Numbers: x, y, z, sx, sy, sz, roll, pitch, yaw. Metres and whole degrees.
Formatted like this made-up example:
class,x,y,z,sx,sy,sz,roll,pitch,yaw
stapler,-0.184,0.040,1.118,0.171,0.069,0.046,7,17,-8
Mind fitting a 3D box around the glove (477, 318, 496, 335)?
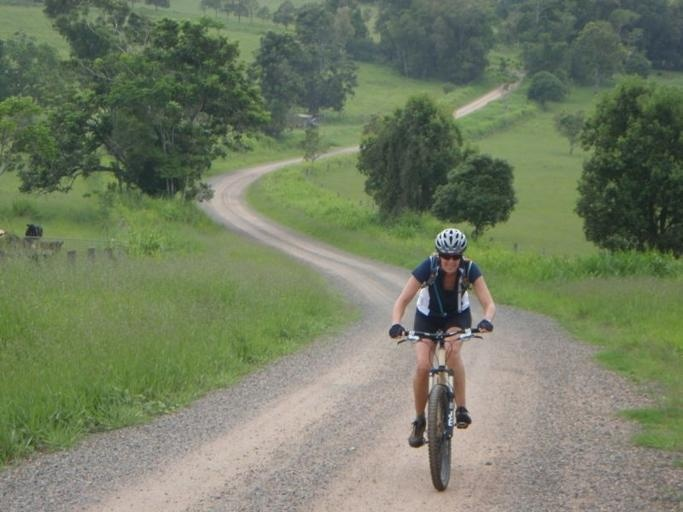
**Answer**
class,x,y,z,sx,sy,sz,roll,pitch,yaw
glove,7.343,3.571,52.049,0.636,1.079,0.367,13,-15,11
